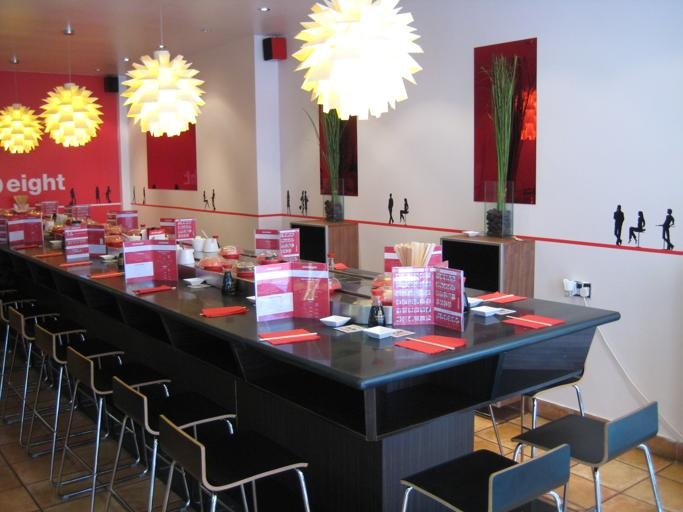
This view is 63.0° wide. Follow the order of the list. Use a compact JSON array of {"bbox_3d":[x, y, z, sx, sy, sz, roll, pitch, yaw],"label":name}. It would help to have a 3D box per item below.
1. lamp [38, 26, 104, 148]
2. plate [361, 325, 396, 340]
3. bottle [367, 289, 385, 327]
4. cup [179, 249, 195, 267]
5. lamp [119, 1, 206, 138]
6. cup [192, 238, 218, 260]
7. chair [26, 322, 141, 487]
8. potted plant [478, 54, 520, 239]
[{"bbox_3d":[-2.973,-1.860,6.126,0.585,1.216,0.589,-8,7,-44],"label":"lamp"},{"bbox_3d":[0.206,0.386,2.897,0.173,0.043,0.145,-8,14,-32],"label":"plate"},{"bbox_3d":[0.201,0.308,3.070,0.105,0.241,0.105,0,-8,0],"label":"bottle"},{"bbox_3d":[-1.234,0.004,4.469,0.109,0.117,0.171,-1,-4,2],"label":"cup"},{"bbox_3d":[-1.338,-1.255,4.193,0.606,0.673,0.425,3,13,14],"label":"lamp"},{"bbox_3d":[-1.196,-0.076,4.840,0.221,0.156,0.142,-3,-1,35],"label":"cup"},{"bbox_3d":[-1.939,1.148,4.244,0.366,0.683,0.933,-9,19,-31],"label":"chair"},{"bbox_3d":[1.401,-0.986,4.900,0.238,1.563,0.616,3,13,15],"label":"potted plant"}]
